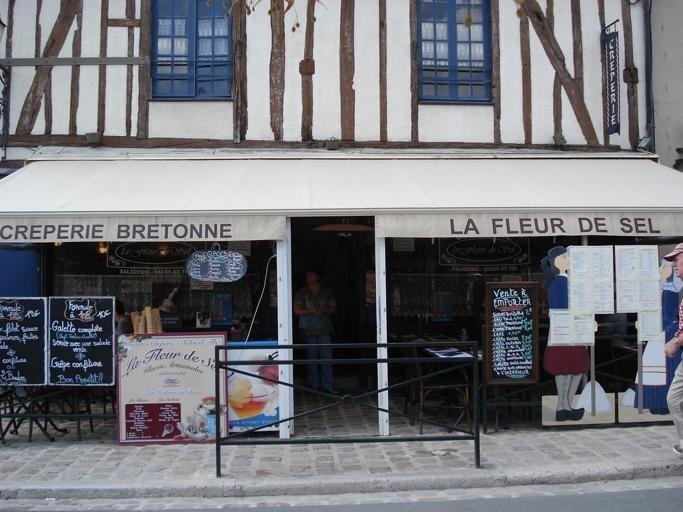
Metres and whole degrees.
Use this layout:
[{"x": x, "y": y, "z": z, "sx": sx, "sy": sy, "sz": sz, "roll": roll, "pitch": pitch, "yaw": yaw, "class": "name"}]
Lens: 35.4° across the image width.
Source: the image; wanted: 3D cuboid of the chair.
[{"x": 1.685, "y": 1.969, "z": 16.432, "sx": 1.028, "sy": 1.501, "sz": 0.908, "roll": -10, "pitch": -6, "yaw": 31, "class": "chair"}]

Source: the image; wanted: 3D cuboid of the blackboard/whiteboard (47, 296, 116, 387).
[{"x": -3.835, "y": 1.285, "z": 15.621, "sx": 1.400, "sy": 1.747, "sz": 0.146, "roll": -1, "pitch": -5, "yaw": -4, "class": "blackboard/whiteboard"}]
